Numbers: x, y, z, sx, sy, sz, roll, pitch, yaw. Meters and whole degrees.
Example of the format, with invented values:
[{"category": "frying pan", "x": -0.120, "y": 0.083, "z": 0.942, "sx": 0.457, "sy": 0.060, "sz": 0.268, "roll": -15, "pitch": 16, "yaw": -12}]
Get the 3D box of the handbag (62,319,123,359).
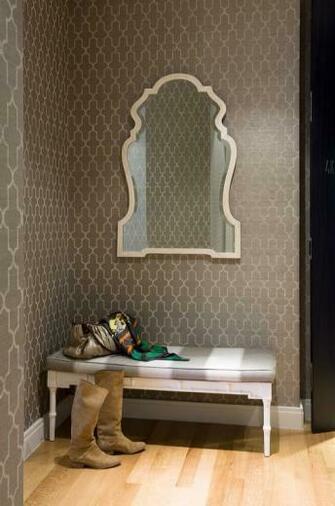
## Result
[{"category": "handbag", "x": -0.432, "y": 0.533, "z": 2.449, "sx": 0.178, "sy": 0.247, "sz": 0.348, "roll": -15, "pitch": -14, "yaw": 32}]
